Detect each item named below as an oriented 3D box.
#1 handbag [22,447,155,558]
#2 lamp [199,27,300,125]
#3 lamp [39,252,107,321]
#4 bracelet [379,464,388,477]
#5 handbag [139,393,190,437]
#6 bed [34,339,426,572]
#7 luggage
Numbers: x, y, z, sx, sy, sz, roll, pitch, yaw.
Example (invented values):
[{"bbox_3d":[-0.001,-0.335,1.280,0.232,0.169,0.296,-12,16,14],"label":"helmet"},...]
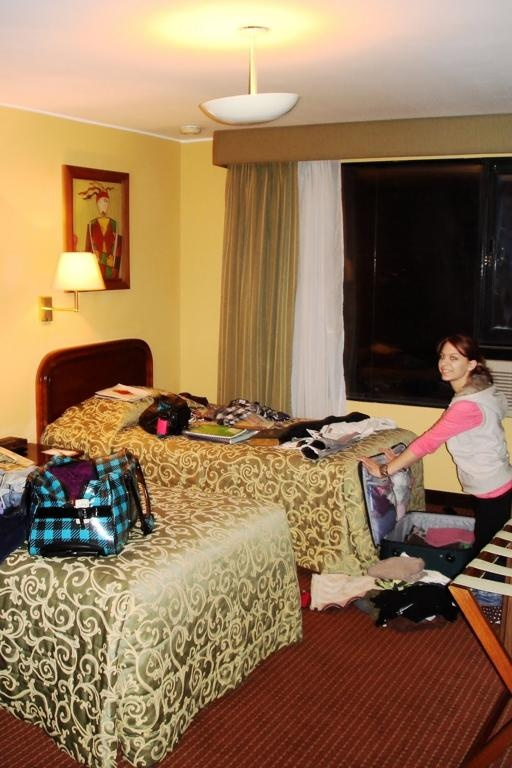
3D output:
[{"bbox_3d":[-0.532,0.371,1.878,0.283,0.202,0.334,0,0,-1],"label":"handbag"},{"bbox_3d":[-0.012,-1.268,2.316,0.337,0.310,0.345,16,47,20],"label":"lamp"},{"bbox_3d":[-1.251,-0.652,3.877,0.472,0.500,0.354,5,10,13],"label":"lamp"},{"bbox_3d":[0.653,0.443,2.938,0.045,0.063,0.025,11,3,21],"label":"bracelet"},{"bbox_3d":[-0.595,0.202,3.714,0.222,0.146,0.312,-7,13,-27],"label":"handbag"},{"bbox_3d":[-0.265,0.474,3.841,2.157,1.099,1.359,6,17,24],"label":"bed"},{"bbox_3d":[0.970,0.646,3.112,0.705,0.731,0.462,0,17,25],"label":"luggage"}]
